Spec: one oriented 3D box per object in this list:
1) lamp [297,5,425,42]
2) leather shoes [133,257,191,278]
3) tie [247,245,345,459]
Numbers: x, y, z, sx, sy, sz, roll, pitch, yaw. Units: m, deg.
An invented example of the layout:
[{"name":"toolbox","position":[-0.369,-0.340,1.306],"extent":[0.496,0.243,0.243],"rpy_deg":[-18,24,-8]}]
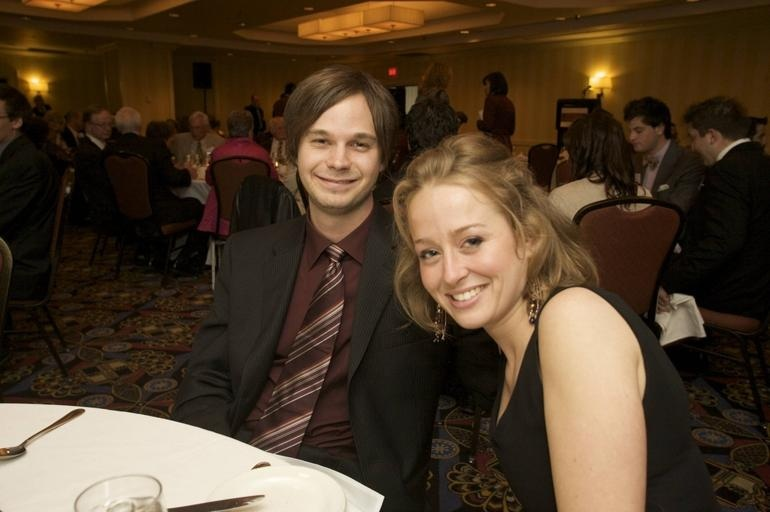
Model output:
[{"name":"lamp","position":[-0.482,-4.742,10.614],"extent":[1.023,0.479,2.498],"rpy_deg":[-15,22,-42]},{"name":"leather shoes","position":[-2.398,0.137,5.794],"extent":[0.540,0.227,0.173],"rpy_deg":[-5,5,21]},{"name":"tie","position":[-0.263,0.357,1.815],"extent":[0.181,0.789,0.079],"rpy_deg":[19,-2,7]}]
